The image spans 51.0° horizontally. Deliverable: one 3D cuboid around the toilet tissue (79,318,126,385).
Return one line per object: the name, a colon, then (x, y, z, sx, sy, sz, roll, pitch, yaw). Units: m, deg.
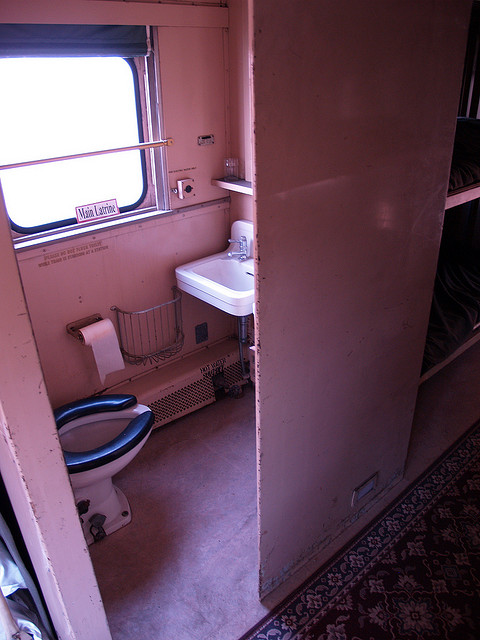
toilet tissue: (-0.738, 0.158, 2.642, 0.096, 0.339, 0.203, 17, 37, 31)

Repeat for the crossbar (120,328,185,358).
crossbar: (-0.489, 0.132, 2.977, 0.280, 0.053, 0.166, -31, 54, -33)

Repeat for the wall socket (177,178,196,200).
wall socket: (-0.310, -0.748, 2.844, 0.032, 0.091, 0.094, 16, 28, 33)

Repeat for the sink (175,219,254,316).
sink: (-0.053, -0.324, 2.877, 0.562, 0.371, 0.430, 24, 35, 38)
